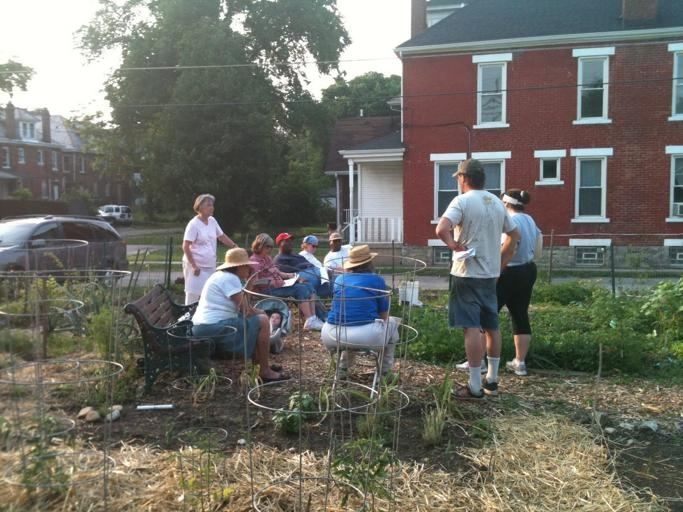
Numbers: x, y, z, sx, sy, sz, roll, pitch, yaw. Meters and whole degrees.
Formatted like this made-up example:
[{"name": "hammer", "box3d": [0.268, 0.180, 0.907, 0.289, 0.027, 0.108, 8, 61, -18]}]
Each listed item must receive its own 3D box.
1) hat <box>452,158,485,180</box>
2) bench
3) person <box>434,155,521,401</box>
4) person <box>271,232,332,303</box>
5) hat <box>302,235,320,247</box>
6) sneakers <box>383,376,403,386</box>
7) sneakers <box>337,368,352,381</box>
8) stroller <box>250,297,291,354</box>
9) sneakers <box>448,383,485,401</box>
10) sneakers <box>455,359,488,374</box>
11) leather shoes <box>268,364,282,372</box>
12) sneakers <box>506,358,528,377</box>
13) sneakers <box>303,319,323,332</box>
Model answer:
[{"name": "hat", "box3d": [1.804, -1.249, 12.435, 0.298, 0.223, 0.400, -8, 8, -42]}, {"name": "bench", "box3d": [-2.690, 1.160, 12.820, 0.906, 1.433, 1.503, 1, 2, -9]}, {"name": "person", "box3d": [1.902, 0.300, 12.289, 1.254, 3.342, 0.483, 1, 2, -30]}, {"name": "person", "box3d": [-0.722, 0.326, 15.821, 0.876, 1.619, 0.844, -8, -3, 0]}, {"name": "hat", "box3d": [-0.532, -0.301, 16.278, 0.336, 0.204, 0.247, -4, 10, -33]}, {"name": "sneakers", "box3d": [0.721, 1.738, 12.263, 0.232, 0.143, 0.234, 0, -7, 6]}, {"name": "sneakers", "box3d": [0.040, 1.658, 12.382, 0.183, 0.176, 0.186, -1, 0, 30]}, {"name": "stroller", "box3d": [-0.993, 1.087, 13.711, 0.725, 0.919, 0.919, 0, 2, 7]}, {"name": "sneakers", "box3d": [1.767, 1.889, 12.228, 0.478, 0.210, 0.208, 2, -2, 12]}, {"name": "sneakers", "box3d": [1.936, 1.643, 13.019, 0.504, 0.219, 0.173, 2, -2, 4]}, {"name": "leather shoes", "box3d": [-0.966, 1.650, 12.947, 0.093, 0.050, 0.125, -1, 12, -43]}, {"name": "sneakers", "box3d": [2.643, 1.651, 13.059, 0.152, 0.175, 0.351, -5, 15, -16]}, {"name": "sneakers", "box3d": [-0.489, 1.154, 14.685, 0.440, 0.189, 0.148, -1, 2, 21]}]
